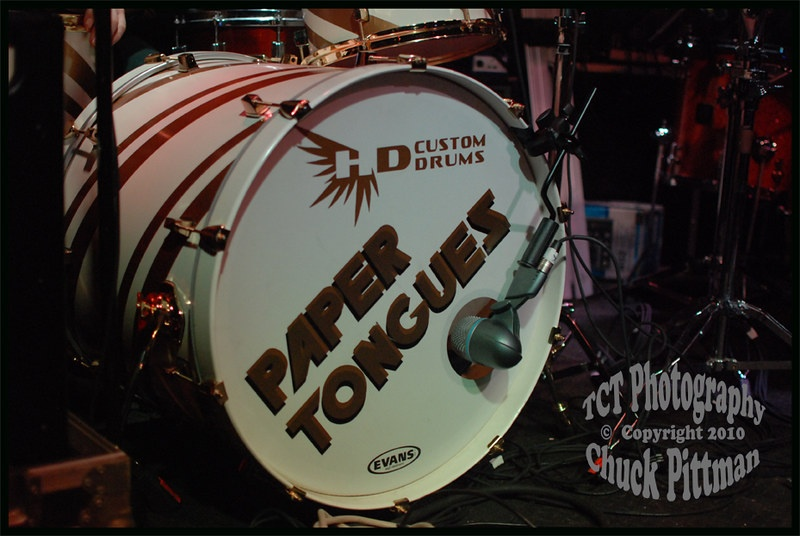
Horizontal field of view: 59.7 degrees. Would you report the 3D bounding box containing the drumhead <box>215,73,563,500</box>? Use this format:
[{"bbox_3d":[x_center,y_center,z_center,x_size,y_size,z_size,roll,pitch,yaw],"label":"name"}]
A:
[{"bbox_3d":[-0.052,0.043,2.004,1.115,0.546,1.205,-8,105,-40],"label":"drumhead"}]

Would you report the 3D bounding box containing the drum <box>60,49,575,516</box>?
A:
[{"bbox_3d":[-0.251,-0.147,2.428,1.474,1.387,1.417,-27,131,-31],"label":"drum"}]

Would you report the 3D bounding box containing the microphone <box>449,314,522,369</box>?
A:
[{"bbox_3d":[0.260,0.213,2.107,0.125,0.204,0.113,-8,103,-28],"label":"microphone"}]
